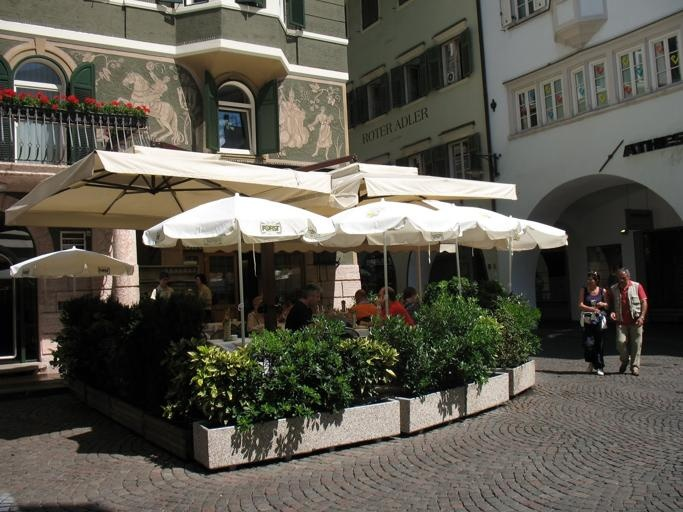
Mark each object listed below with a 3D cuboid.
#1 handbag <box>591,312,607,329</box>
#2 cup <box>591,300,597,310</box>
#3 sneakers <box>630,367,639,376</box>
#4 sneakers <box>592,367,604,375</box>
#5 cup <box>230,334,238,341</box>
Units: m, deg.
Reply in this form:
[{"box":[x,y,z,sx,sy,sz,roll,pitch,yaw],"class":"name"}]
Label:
[{"box":[5.471,1.369,14.789,0.276,0.421,0.146,5,-5,-23],"class":"handbag"},{"box":[5.411,1.062,14.860,0.110,0.218,0.111,-1,0,0],"class":"cup"},{"box":[6.055,2.395,14.301,0.110,0.168,0.164,3,-18,2],"class":"sneakers"},{"box":[5.397,2.449,14.575,0.088,0.118,0.244,-10,-9,43],"class":"sneakers"},{"box":[-2.019,1.543,13.029,0.114,0.077,0.119,-1,-8,0],"class":"cup"}]
